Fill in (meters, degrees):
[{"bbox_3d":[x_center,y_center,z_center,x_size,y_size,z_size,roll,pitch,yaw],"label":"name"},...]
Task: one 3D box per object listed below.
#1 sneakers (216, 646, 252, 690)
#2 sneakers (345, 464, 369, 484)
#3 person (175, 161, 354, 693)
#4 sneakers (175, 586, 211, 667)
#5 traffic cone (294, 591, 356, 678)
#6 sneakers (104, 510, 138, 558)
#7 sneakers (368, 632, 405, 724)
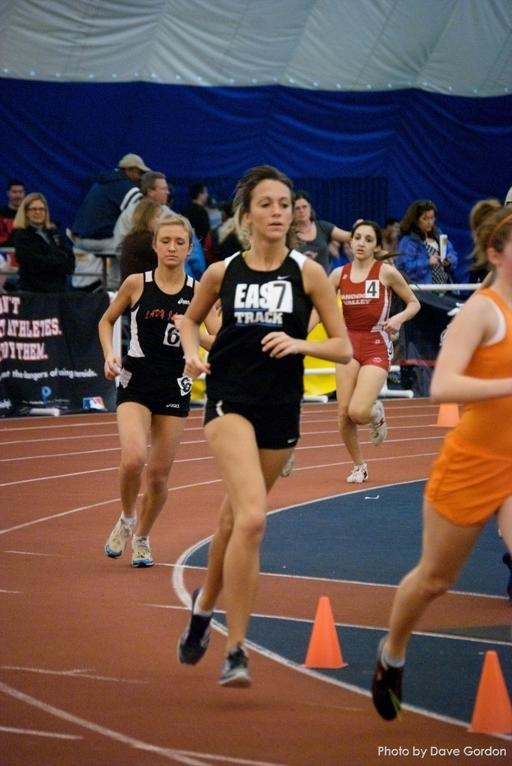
[{"bbox_3d":[-0.080,0.889,2.022,0.064,0.114,0.174,3,-10,-5],"label":"sneakers"},{"bbox_3d":[1.111,0.993,7.163,0.121,0.145,0.334,-9,-4,27],"label":"sneakers"},{"bbox_3d":[0.052,0.052,2.399,0.595,1.836,0.623,0,-5,-9],"label":"person"},{"bbox_3d":[-0.220,0.877,2.416,0.102,0.290,0.126,15,-24,0],"label":"sneakers"},{"bbox_3d":[0.290,0.975,2.586,0.233,0.318,0.189,0,1,10],"label":"traffic cone"},{"bbox_3d":[-0.937,1.062,4.551,0.133,0.381,0.170,34,-34,-12],"label":"sneakers"},{"bbox_3d":[0.386,0.859,1.936,0.075,0.209,0.086,2,-8,-2],"label":"sneakers"}]
